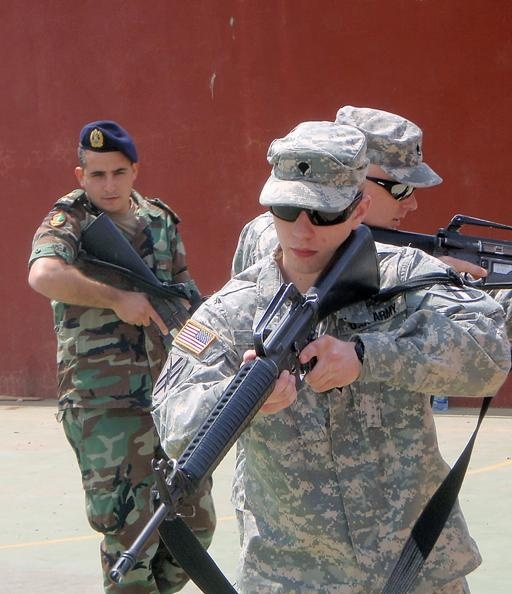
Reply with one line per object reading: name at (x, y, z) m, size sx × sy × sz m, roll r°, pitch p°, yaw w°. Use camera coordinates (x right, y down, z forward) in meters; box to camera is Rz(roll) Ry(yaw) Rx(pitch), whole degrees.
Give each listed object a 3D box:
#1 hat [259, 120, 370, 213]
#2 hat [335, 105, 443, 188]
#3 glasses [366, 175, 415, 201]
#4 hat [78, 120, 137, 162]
hat at (0.145, -0.329, 2.003) m, size 0.219 × 0.279 × 0.101 m, roll 8°, pitch -45°, yaw 15°
hat at (0.468, -0.521, 2.763) m, size 0.402 × 0.265 × 0.176 m, roll 20°, pitch -58°, yaw 13°
glasses at (0.453, -0.365, 2.706) m, size 0.120 × 0.033 × 0.091 m, roll 25°, pitch 1°, yaw 29°
hat at (-0.721, -0.817, 4.042) m, size 0.240 × 0.116 × 0.272 m, roll 9°, pitch -14°, yaw 25°
